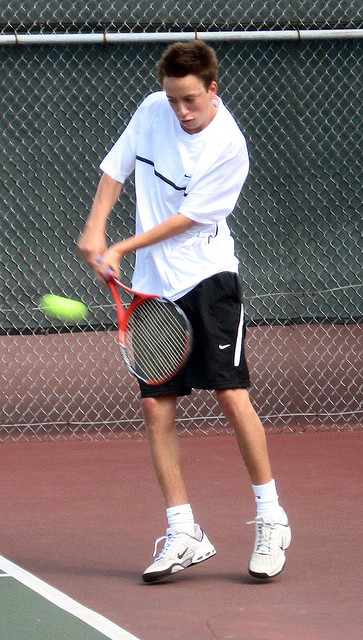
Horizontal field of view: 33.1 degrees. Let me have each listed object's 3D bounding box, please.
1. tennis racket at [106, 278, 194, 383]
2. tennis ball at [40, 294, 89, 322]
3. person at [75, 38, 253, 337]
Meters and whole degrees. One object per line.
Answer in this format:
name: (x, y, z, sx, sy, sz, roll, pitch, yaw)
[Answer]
tennis racket: (-0.072, 0.026, 1.480, 0.205, 0.249, 0.111, -2, 0, 8)
tennis ball: (-0.482, -0.056, 2.519, 0.221, 0.072, 0.101, 11, 49, 37)
person: (-0.044, -0.320, 1.548, 0.422, 0.741, 0.302, -2, 0, 6)
